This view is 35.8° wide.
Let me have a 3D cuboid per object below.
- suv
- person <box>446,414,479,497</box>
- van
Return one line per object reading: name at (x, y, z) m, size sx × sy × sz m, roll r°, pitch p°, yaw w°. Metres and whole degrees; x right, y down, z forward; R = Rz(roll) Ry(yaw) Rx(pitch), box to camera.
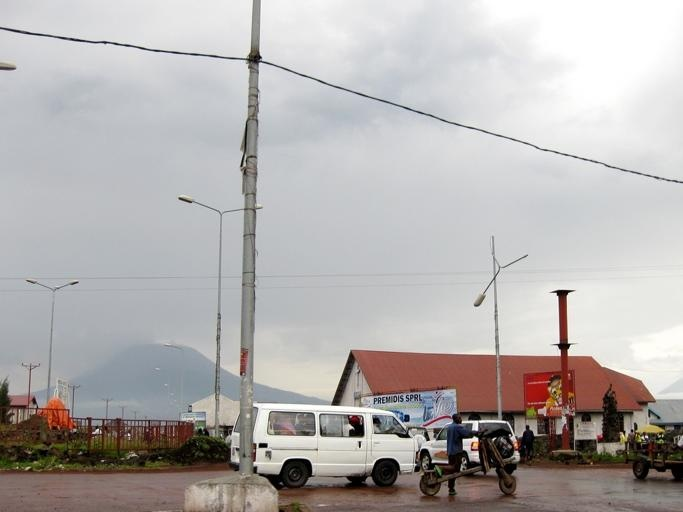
suv at (5.537, 8.425, 47.103) m, size 2.565 × 2.278 × 4.779 m, roll 4°, pitch -10°, yaw -28°
person at (4.230, 7.293, 39.063) m, size 0.982 × 2.634 × 1.128 m, roll 1°, pitch -11°, yaw -32°
van at (-0.565, 7.034, 41.324) m, size 6.206 × 2.678 × 3.529 m, roll 1°, pitch -8°, yaw -17°
